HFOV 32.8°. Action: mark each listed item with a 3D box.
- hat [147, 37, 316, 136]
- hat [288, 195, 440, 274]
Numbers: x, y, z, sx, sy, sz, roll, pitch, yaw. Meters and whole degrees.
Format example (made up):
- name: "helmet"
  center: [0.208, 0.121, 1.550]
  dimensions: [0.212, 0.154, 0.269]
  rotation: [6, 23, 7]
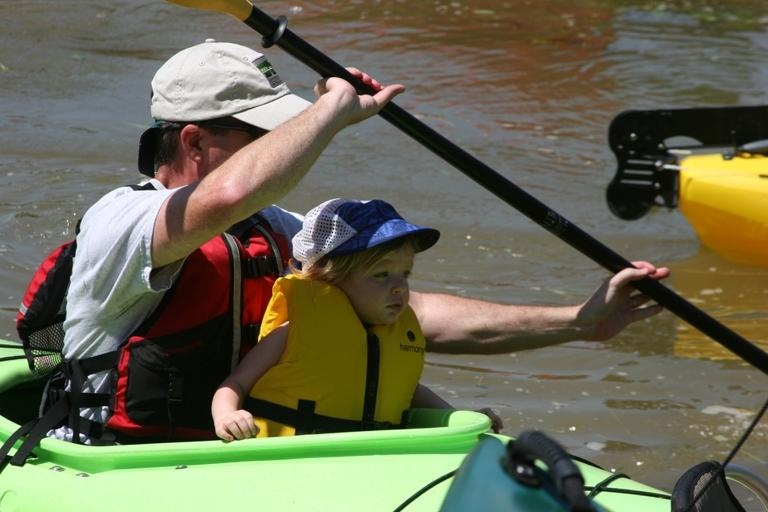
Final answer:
- name: "hat"
  center: [-0.676, -0.808, 5.913]
  dimensions: [0.804, 0.315, 0.507]
  rotation: [12, 32, 21]
- name: "hat"
  center: [-0.085, -0.122, 5.896]
  dimensions: [0.677, 0.228, 0.425]
  rotation: [-11, -9, 23]
